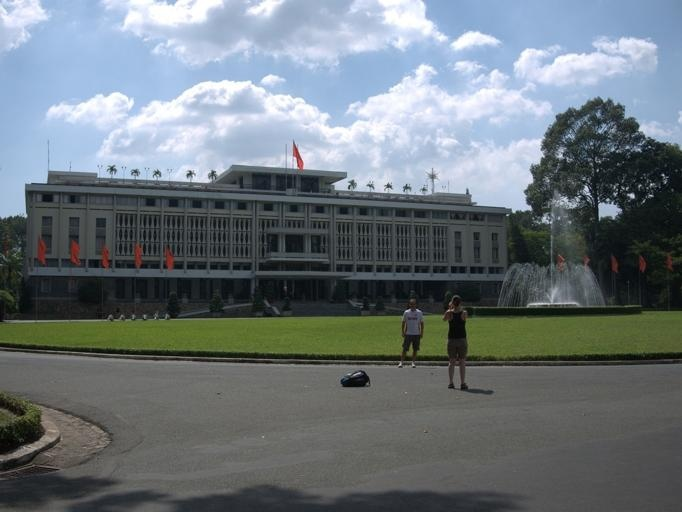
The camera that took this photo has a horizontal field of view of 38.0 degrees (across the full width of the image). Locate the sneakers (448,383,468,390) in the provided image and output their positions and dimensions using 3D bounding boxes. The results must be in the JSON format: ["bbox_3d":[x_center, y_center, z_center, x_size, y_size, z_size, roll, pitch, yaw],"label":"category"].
[{"bbox_3d":[3.268,3.626,27.533,0.584,0.286,0.205,0,-1,-12],"label":"sneakers"}]

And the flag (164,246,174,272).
[{"bbox_3d":[-16.801,0.382,96.421,0.263,2.609,2.350,1,-4,-25],"label":"flag"}]

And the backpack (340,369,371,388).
[{"bbox_3d":[0.433,3.498,28.185,0.608,0.345,0.505,-2,0,14],"label":"backpack"}]
